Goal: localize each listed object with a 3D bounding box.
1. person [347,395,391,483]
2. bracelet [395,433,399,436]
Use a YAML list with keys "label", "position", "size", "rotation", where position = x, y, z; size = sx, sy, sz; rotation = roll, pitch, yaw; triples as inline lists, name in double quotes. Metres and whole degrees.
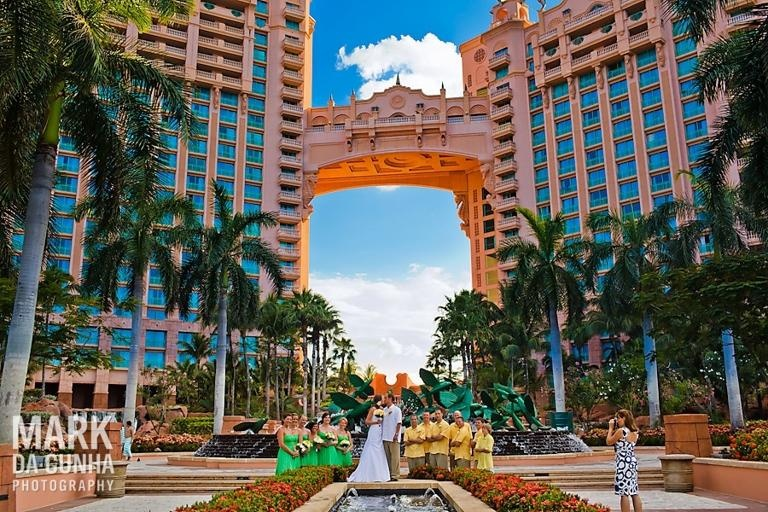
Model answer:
- label: "person"
  position: [-0.434, 5.798, 19.868]
  size: [1.093, 2.595, 0.691]
  rotation: [-1, -18, 0]
- label: "bracelet"
  position: [0.397, 5.726, 19.980]
  size: [0.065, 0.097, 0.097]
  rotation: [9, 5, -38]
